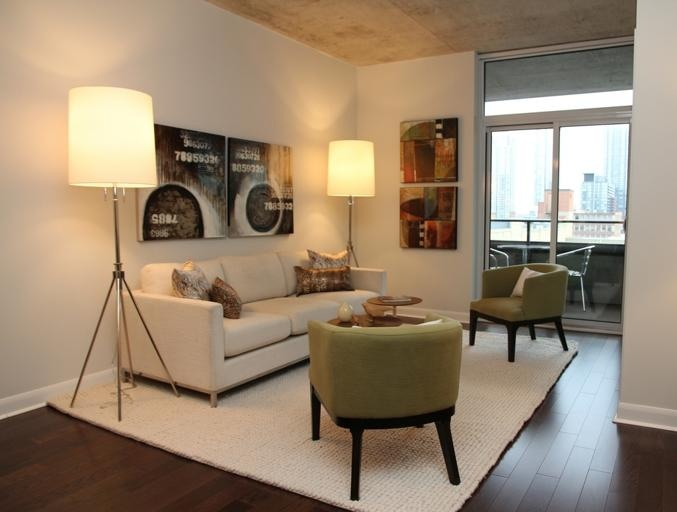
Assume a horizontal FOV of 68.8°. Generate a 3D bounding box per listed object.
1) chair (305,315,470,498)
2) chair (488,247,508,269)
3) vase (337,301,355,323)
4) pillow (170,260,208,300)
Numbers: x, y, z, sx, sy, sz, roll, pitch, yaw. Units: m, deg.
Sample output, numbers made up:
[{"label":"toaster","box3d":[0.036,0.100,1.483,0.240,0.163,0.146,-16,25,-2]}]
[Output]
[{"label":"chair","box3d":[0.175,0.731,3.061,0.874,1.086,0.896,-1,6,-14]},{"label":"chair","box3d":[2.009,0.029,6.266,0.231,0.315,0.222,2,3,30]},{"label":"vase","box3d":[0.056,0.458,4.079,0.132,0.190,0.140,-1,7,19]},{"label":"pillow","box3d":[-1.239,0.250,4.110,0.230,0.308,0.430,-14,-15,11]}]
